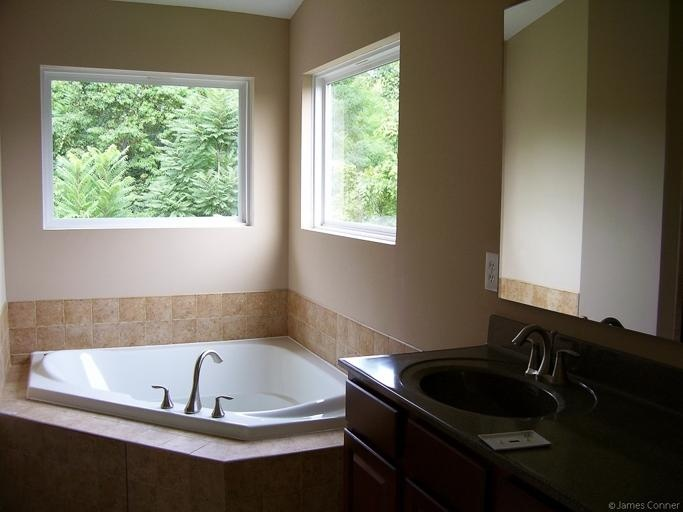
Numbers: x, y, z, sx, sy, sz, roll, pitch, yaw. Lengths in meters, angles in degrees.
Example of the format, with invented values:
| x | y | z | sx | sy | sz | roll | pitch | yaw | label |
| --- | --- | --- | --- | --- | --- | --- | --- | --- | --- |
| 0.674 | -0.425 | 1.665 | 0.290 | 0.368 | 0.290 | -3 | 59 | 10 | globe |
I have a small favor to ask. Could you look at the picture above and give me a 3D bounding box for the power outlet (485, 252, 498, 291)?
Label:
| x | y | z | sx | sy | sz | roll | pitch | yaw | label |
| --- | --- | --- | --- | --- | --- | --- | --- | --- | --- |
| 0.617 | 0.061 | 2.141 | 0.012 | 0.151 | 0.108 | -4 | 9 | -20 | power outlet |
